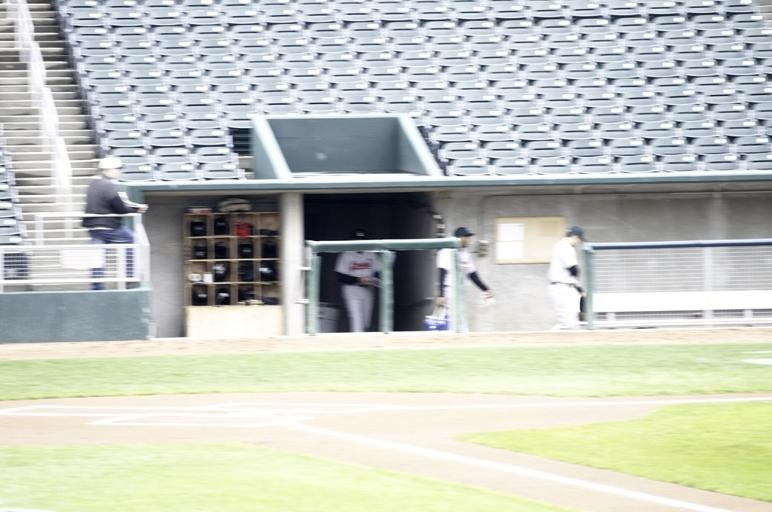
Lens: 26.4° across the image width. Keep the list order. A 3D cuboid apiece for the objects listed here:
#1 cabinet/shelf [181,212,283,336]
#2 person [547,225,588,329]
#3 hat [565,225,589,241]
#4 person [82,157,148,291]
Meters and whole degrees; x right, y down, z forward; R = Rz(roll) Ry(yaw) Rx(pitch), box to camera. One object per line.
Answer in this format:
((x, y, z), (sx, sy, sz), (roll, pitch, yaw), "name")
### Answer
((-2.952, 0.011, 31.856), (1.809, 1.929, 0.789), (3, -6, -38), "cabinet/shelf")
((3.259, 0.410, 29.456), (0.643, 1.810, 0.658), (-1, -5, 3), "person")
((3.307, -0.407, 29.417), (0.590, 0.237, 0.294), (7, 18, 7), "hat")
((-4.808, -0.550, 28.884), (1.002, 2.296, 1.198), (0, -5, -7), "person")
